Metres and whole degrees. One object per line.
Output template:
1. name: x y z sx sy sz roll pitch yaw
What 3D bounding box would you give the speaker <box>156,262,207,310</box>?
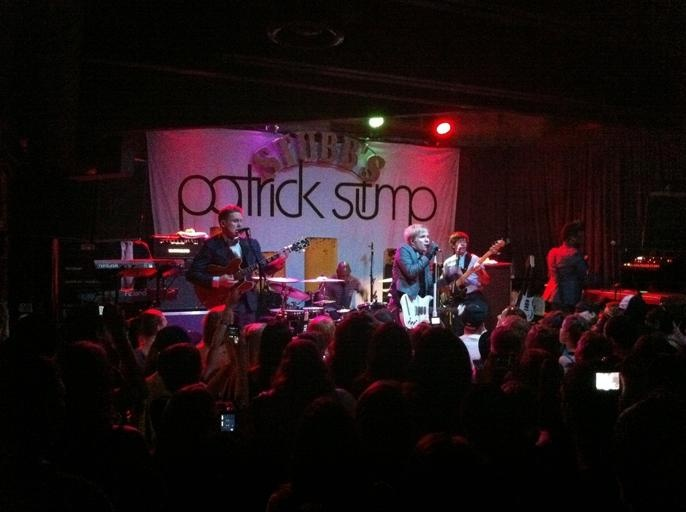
1. speaker: -1.895 0.365 6.864 0.268 0.536 0.761 -9 -7 34

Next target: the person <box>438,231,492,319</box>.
1. person: 1.317 0.197 6.378 0.680 0.194 1.633 -7 -38 12

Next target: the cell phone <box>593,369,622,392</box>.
1. cell phone: 1.520 0.713 3.368 0.125 0.123 0.030 0 -3 -16

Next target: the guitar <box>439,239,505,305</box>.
1. guitar: 1.433 0.215 6.653 0.139 0.476 0.943 6 -39 -14

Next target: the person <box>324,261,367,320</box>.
1. person: 0.008 0.485 8.660 0.765 0.967 0.575 0 -6 -27

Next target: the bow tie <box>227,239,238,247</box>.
1. bow tie: -1.120 -0.135 5.929 0.076 0.056 0.073 0 4 -45

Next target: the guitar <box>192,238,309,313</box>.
1. guitar: -0.878 0.129 5.847 1.233 0.511 0.147 -29 17 -17
